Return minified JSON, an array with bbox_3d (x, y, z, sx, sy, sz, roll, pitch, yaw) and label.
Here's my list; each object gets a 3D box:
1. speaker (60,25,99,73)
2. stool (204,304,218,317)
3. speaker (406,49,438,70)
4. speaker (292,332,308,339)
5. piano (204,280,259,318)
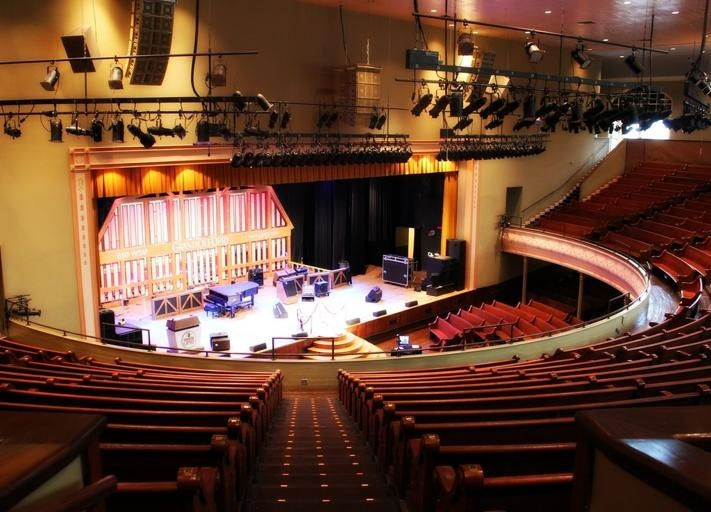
[{"bbox_3d":[-4.533,-3.323,9.740,0.476,0.639,0.880,-9,9,-28],"label":"speaker"},{"bbox_3d":[-3.846,1.411,15.938,0.221,0.325,0.597,-9,8,-38],"label":"stool"},{"bbox_3d":[0.926,-2.643,8.106,0.520,0.285,0.241,-7,7,-20],"label":"speaker"},{"bbox_3d":[-1.298,1.850,13.973,0.412,0.144,0.290,-7,7,-21],"label":"speaker"},{"bbox_3d":[-3.217,1.120,16.083,0.779,0.607,1.178,7,9,42],"label":"piano"}]
